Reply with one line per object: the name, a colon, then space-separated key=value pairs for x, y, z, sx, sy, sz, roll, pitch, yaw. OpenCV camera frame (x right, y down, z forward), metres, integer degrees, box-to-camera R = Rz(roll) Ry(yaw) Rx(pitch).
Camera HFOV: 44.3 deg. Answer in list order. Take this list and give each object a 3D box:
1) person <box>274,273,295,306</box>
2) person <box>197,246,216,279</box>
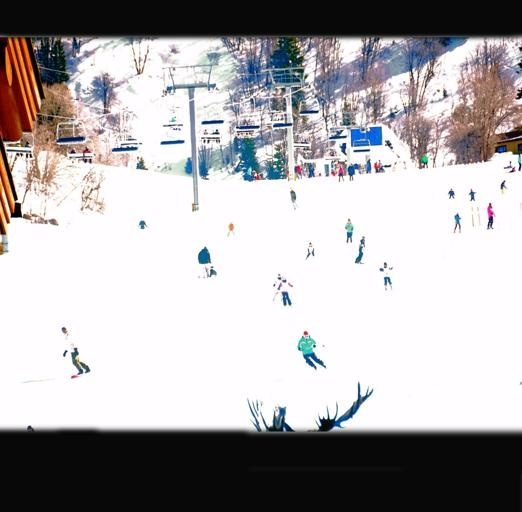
person: x=0.635 y=0.965 z=18.074 sx=0.576 sy=0.391 sz=1.442 roll=-9 pitch=23 yaw=-2
person: x=-1.670 y=0.243 z=19.779 sx=0.511 sy=1.088 sz=0.231 roll=2 pitch=27 yaw=31
